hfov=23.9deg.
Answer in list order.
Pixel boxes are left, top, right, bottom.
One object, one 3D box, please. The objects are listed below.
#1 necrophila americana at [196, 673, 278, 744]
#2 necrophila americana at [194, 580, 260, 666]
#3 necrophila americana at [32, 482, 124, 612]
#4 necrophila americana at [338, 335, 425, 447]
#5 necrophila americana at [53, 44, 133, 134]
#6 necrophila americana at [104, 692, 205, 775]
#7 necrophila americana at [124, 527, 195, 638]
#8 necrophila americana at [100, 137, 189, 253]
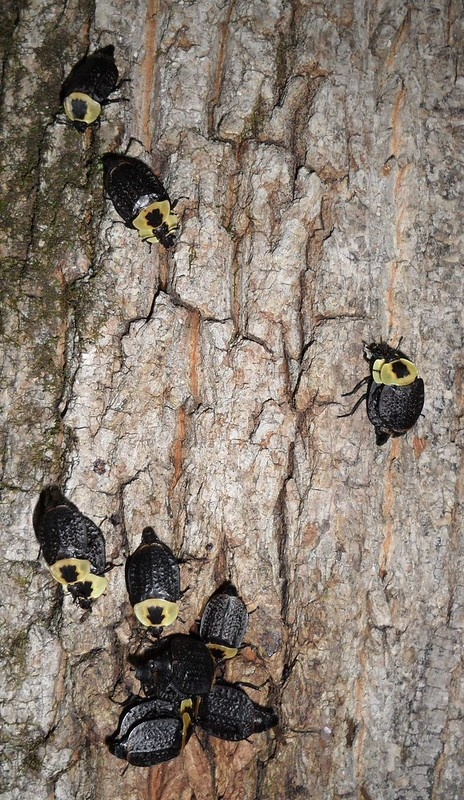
[{"bbox_3d":[0.007,1.411,4.875,0.429,0.124,0.317,-2,56,44],"label":"necrophila americana"},{"bbox_3d":[-0.069,1.029,4.856,0.269,0.114,0.389,11,51,10],"label":"necrophila americana"},{"bbox_3d":[-0.716,0.675,4.758,0.316,0.172,0.529,-6,48,-19],"label":"necrophila americana"},{"bbox_3d":[0.683,-0.023,4.682,0.374,0.114,0.441,1,88,-21],"label":"necrophila americana"},{"bbox_3d":[-0.607,-1.330,4.668,0.301,0.225,0.333,16,84,3],"label":"necrophila americana"},{"bbox_3d":[-0.360,1.450,4.772,0.329,0.171,0.300,29,85,4],"label":"necrophila americana"},{"bbox_3d":[-0.347,0.816,4.838,0.316,0.292,0.380,34,85,4],"label":"necrophila americana"},{"bbox_3d":[-0.375,-0.841,4.646,0.319,0.246,0.320,6,84,2],"label":"necrophila americana"}]
